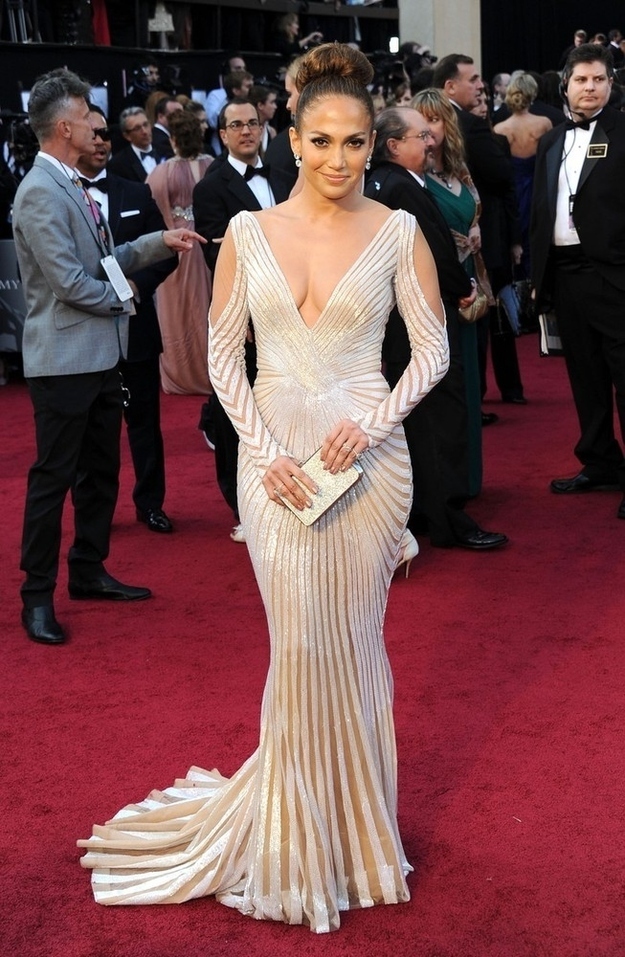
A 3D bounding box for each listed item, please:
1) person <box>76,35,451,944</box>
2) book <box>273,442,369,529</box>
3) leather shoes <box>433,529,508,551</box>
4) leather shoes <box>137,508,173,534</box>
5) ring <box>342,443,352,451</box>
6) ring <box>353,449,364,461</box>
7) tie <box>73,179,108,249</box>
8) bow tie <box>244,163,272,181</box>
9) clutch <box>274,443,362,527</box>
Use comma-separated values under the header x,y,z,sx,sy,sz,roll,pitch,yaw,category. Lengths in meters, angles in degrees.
x,y,z,sx,sy,sz,roll,pitch,yaw,category
-0.097,0.039,1.443,0.646,1.569,0.444,2,12,19,person
0.003,0.007,1.139,0.112,0.113,0.026,44,0,14,book
0.814,0.320,3.964,0.347,0.148,0.137,-4,8,20,leather shoes
-0.888,0.235,4.371,0.097,0.112,0.262,-10,14,-37,leather shoes
0.053,-0.048,1.178,0.010,0.004,0.014,15,34,4,ring
0.075,-0.038,1.253,0.006,0.014,0.019,-31,22,34,ring
-0.874,-1.049,3.070,0.183,0.249,0.091,-22,-30,18,tie
-0.340,-1.888,4.740,0.186,0.137,0.052,-11,23,-17,bow tie
0.003,0.008,1.140,0.112,0.112,0.026,46,0,12,clutch
